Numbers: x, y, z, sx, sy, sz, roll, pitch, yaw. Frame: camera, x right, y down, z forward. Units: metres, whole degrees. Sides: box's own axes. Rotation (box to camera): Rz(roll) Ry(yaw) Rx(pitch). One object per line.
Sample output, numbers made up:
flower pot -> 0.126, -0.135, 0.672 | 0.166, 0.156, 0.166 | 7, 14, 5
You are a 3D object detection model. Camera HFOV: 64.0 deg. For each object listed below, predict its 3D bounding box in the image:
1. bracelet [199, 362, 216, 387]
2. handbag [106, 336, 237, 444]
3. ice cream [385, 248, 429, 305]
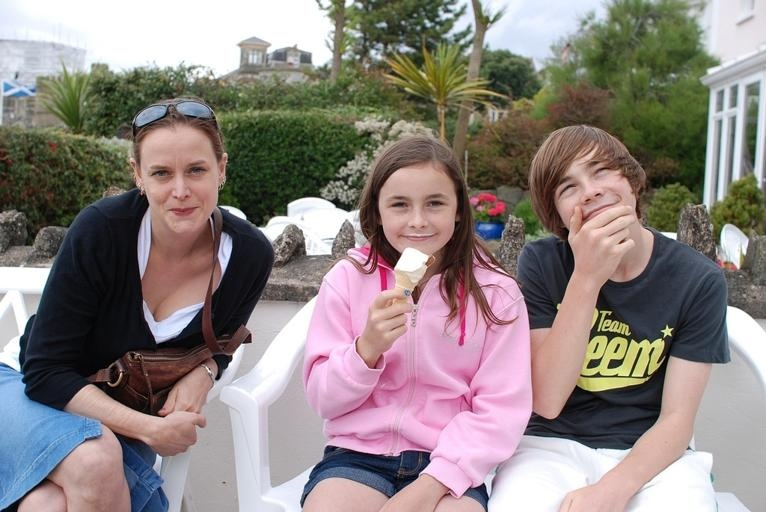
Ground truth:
bracelet -> -0.847, 0.566, 2.959 | 0.079, 0.089, 0.033 | 15, 33, 31
handbag -> -1.018, 0.607, 2.864 | 0.390, 0.403, 0.380 | 0, -1, 8
ice cream -> 0.127, 0.076, 2.565 | 0.134, 0.216, 0.102 | 0, 9, 1
